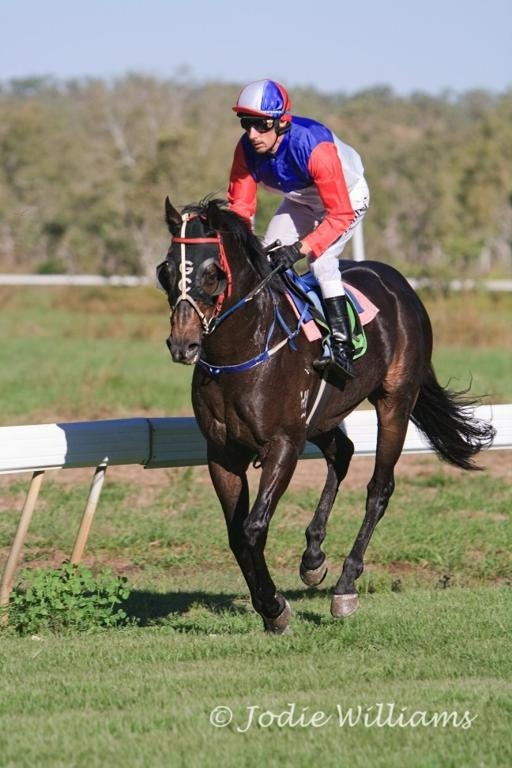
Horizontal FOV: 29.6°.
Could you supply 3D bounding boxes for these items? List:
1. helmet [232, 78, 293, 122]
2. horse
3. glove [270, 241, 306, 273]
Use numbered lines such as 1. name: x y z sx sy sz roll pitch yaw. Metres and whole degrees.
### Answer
1. helmet: 0.028 -1.026 3.562 0.184 0.130 0.255 3 5 37
2. horse: 0.395 0.085 4.288 0.708 1.660 2.974 -1 2 31
3. glove: 0.111 -0.473 3.619 0.129 0.102 0.056 -33 -2 -3
